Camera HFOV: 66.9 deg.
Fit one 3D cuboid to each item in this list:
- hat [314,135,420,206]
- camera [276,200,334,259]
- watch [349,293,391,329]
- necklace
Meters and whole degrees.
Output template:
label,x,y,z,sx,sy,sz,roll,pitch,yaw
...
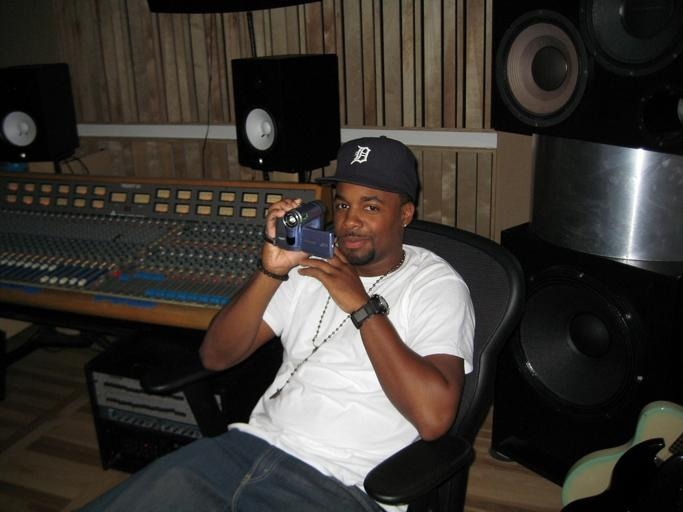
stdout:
label,x,y,z,sx,sy,sz,roll,pitch,yaw
hat,0.107,-0.262,1.698,0.194,0.164,0.260,10,5,40
camera,-0.092,-0.070,1.532,0.160,0.122,0.266,-4,24,-24
watch,0.083,0.155,1.493,0.114,0.073,0.120,-30,-16,-4
necklace,0.011,0.292,1.730,0.056,0.759,0.215,43,-12,-36
